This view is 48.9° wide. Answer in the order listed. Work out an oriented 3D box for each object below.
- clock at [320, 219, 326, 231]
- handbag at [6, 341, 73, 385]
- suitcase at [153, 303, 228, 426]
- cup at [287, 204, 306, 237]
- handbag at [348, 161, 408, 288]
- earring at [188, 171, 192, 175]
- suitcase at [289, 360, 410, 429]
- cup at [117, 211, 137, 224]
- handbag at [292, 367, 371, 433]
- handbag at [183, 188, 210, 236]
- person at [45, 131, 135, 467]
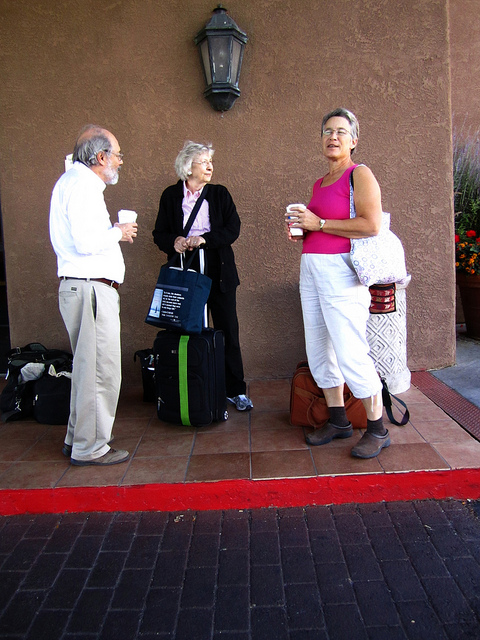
[{"bbox_3d":[0.406,-0.465,2.600,0.022,0.052,0.032,-8,14,-18],"label":"clock"},{"bbox_3d":[-1.433,0.301,3.784,0.449,0.161,0.344,1,8,-11],"label":"handbag"},{"bbox_3d":[-0.314,0.382,3.324,0.454,0.630,0.252,-4,13,-4],"label":"suitcase"},{"bbox_3d":[0.285,-0.494,2.647,0.091,0.157,0.103,-2,13,6],"label":"cup"},{"bbox_3d":[0.729,-0.458,2.776,0.273,0.681,0.622,0,13,17],"label":"handbag"},{"bbox_3d":[-0.320,-0.934,3.362,0.025,0.018,0.022,-4,13,-4],"label":"earring"},{"bbox_3d":[0.675,0.389,3.321,0.725,0.592,0.408,0,13,3],"label":"suitcase"},{"bbox_3d":[-0.583,-0.524,2.721,0.085,0.062,0.082,2,20,-1],"label":"cup"},{"bbox_3d":[0.582,0.437,3.221,0.484,0.437,0.262,4,24,12],"label":"handbag"},{"bbox_3d":[-0.277,-0.692,3.445,0.043,0.374,0.055,19,24,-22],"label":"handbag"},{"bbox_3d":[-0.767,-0.078,2.770,0.525,1.745,0.311,-8,14,-20],"label":"person"}]
